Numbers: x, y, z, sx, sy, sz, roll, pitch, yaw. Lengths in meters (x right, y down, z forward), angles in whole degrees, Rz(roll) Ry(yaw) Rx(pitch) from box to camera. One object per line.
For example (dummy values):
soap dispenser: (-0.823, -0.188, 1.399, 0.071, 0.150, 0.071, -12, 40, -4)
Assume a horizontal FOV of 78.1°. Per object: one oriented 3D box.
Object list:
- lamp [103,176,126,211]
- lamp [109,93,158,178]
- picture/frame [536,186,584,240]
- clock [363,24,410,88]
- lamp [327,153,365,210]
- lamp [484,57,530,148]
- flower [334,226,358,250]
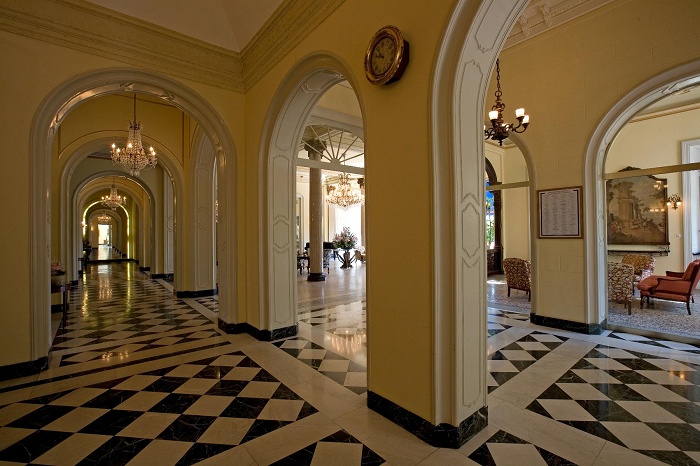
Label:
lamp: (-8.991, -1.494, 16.322, 1.029, 1.220, 1.012, 0, 4, -29)
lamp: (-5.192, -2.377, 10.360, 0.899, 1.983, 0.865, -3, 11, -45)
picture/frame: (4.087, -0.387, 8.342, 0.093, 1.372, 1.002, 2, -1, -41)
clock: (0.459, -2.340, 5.811, 0.228, 0.696, 0.693, -3, -40, -34)
lamp: (-0.279, -1.986, 17.356, 1.210, 1.839, 1.241, 2, 9, 10)
lamp: (2.998, -2.661, 8.277, 0.837, 1.706, 1.627, -2, -1, 19)
flower: (-0.153, 0.289, 17.692, 0.947, 1.057, 0.934, 0, 10, -7)
